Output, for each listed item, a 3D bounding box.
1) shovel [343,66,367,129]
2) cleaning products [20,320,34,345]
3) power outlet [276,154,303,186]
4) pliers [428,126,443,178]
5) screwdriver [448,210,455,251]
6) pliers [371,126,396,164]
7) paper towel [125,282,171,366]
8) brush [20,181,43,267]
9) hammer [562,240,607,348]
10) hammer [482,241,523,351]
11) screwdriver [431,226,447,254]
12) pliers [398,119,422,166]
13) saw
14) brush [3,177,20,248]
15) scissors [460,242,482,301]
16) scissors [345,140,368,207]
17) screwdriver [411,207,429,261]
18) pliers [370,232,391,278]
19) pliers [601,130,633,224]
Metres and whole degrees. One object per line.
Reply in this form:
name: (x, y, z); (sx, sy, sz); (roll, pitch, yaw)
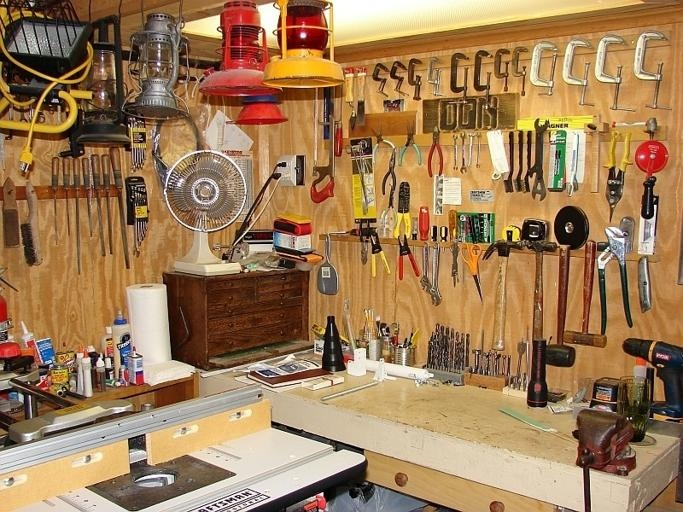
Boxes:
shovel: (0.063, -1.024, 3.718); (0.108, 0.393, 0.208); (-8, 10, -43)
cleaning products: (-1.773, 0.435, 3.247); (0.058, 0.124, 0.145); (-5, 9, -29)
power outlet: (-0.362, -0.614, 4.099); (0.206, 0.215, 0.107); (5, 9, 41)
pliers: (0.566, -0.622, 3.454); (0.095, 0.294, 0.100); (0, 7, 6)
screwdriver: (0.656, -0.167, 3.400); (0.050, 0.205, 0.096); (0, 7, 10)
pliers: (0.284, -0.714, 3.673); (0.047, 0.184, 0.155); (-17, 20, -9)
paper towel: (-1.150, 0.404, 3.473); (0.211, 0.512, 0.210); (12, 13, 36)
brush: (-1.755, -0.174, 3.240); (0.097, 0.475, 0.072); (-6, 9, -34)
hammer: (1.229, 0.215, 2.928); (0.170, 0.609, 0.145); (5, 9, 16)
hammer: (0.896, 0.229, 3.254); (0.217, 0.648, 0.170); (1, 8, 16)
screwdriver: (0.587, -0.088, 3.447); (0.095, 0.172, 0.077); (0, 7, 10)
pliers: (0.419, -0.686, 3.550); (0.165, 0.243, 0.118); (1, 8, 17)
saw: (-0.106, -0.744, 3.904); (0.183, 0.782, 0.127); (-11, 17, -43)
brush: (-1.825, -0.233, 3.164); (0.083, 0.382, 0.041); (-5, 8, -30)
scissors: (0.774, 0.097, 3.347); (0.124, 0.334, 0.036); (-6, 15, 43)
scissors: (0.117, -0.520, 3.752); (0.112, 0.396, 0.059); (-11, 3, 32)
screwdriver: (0.495, -0.187, 3.513); (0.108, 0.231, 0.134); (2, 8, 19)
pliers: (0.236, -0.007, 3.700); (0.145, 0.310, 0.146); (3, 8, 25)
pliers: (1.391, -0.399, 2.897); (0.108, 0.457, 0.118); (3, 8, 25)
